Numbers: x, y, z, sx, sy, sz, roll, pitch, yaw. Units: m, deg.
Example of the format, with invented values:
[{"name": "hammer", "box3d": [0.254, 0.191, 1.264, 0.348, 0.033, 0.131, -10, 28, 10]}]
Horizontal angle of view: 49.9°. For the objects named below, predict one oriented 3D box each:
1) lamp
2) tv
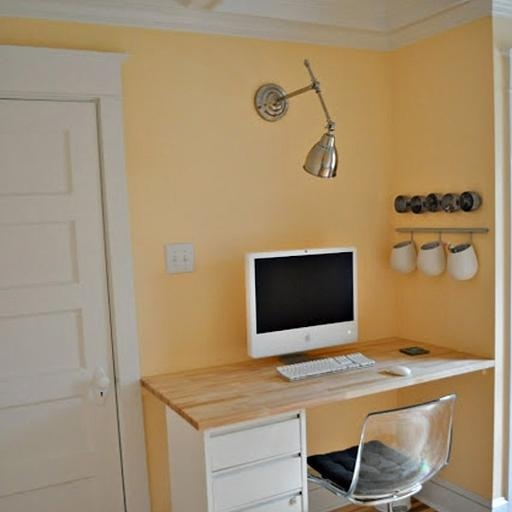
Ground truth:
[{"name": "lamp", "box3d": [0.161, -0.625, 2.531, 0.187, 0.520, 0.280, -24, -4, -33]}, {"name": "tv", "box3d": [0.195, 0.200, 2.412, 0.424, 0.415, 0.058, -3, 3, -30]}]
